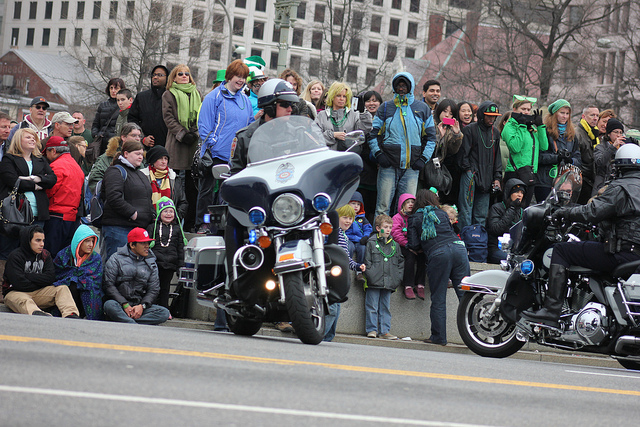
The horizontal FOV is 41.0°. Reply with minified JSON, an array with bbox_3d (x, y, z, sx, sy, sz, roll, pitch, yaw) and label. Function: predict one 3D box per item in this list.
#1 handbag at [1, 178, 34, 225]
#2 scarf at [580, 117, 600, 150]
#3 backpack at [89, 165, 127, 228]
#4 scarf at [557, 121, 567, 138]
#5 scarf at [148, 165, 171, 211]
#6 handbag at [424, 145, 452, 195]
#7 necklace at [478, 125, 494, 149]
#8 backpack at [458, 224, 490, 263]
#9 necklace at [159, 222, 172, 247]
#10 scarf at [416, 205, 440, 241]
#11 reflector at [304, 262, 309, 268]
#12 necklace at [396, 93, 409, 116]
[{"bbox_3d":[-4.879,-0.178,13.818,0.499,0.737,0.186,6,-2,-10],"label":"handbag"},{"bbox_3d":[5.367,-1.579,16.846,0.269,0.523,0.411,-33,7,0],"label":"scarf"},{"bbox_3d":[-3.498,-0.307,14.076,0.534,1.116,0.482,1,-1,19],"label":"backpack"},{"bbox_3d":[4.516,-1.559,15.904,0.211,0.227,0.090,-2,1,-17],"label":"scarf"},{"bbox_3d":[-2.692,-0.454,14.390,0.200,0.626,0.461,-5,-5,41],"label":"scarf"},{"bbox_3d":[2.163,-0.820,15.446,0.638,0.920,0.409,16,-2,-13],"label":"handbag"},{"bbox_3d":[3.004,-1.384,15.502,0.233,0.423,0.073,-11,2,-16],"label":"necklace"},{"bbox_3d":[2.940,0.545,15.642,0.594,0.862,0.496,0,38,16],"label":"backpack"},{"bbox_3d":[-2.566,0.356,14.090,0.191,0.348,0.083,4,-11,-14],"label":"necklace"},{"bbox_3d":[1.805,0.173,14.099,0.538,0.690,0.211,0,-18,7],"label":"scarf"},{"bbox_3d":[-0.168,0.642,10.523,0.014,0.051,0.051,-1,0,-37],"label":"reflector"},{"bbox_3d":[1.449,-1.887,14.897,0.183,0.320,0.186,-1,-6,-2],"label":"necklace"}]
